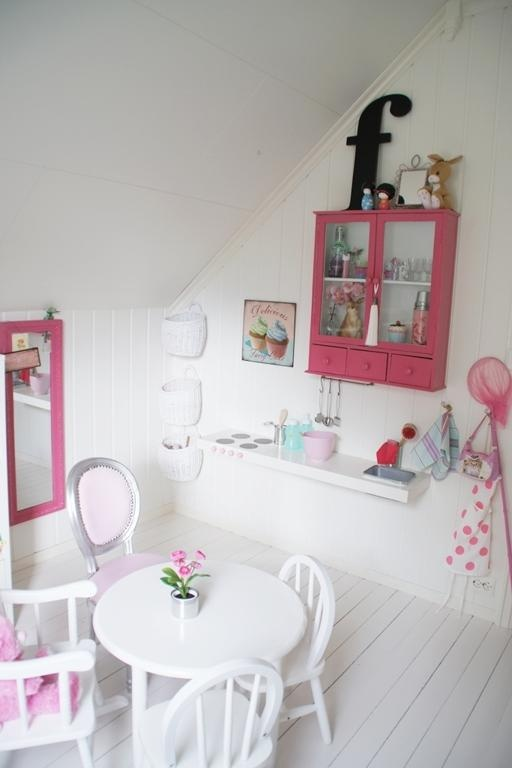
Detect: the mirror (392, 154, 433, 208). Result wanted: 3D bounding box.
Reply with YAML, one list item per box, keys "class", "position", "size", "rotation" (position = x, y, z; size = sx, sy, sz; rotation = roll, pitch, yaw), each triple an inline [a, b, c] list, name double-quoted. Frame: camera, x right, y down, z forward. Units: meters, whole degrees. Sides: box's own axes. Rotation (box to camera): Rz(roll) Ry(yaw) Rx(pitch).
- class: "mirror"
  position: [0.750, -0.972, 2.726]
  size: [0.177, 0.255, 0.012]
  rotation: [-1, 44, 3]

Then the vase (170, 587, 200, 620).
- class: "vase"
  position: [-0.212, 0.675, 1.728]
  size: [0.073, 0.056, 0.075]
  rotation: [6, 12, 19]

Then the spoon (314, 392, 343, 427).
- class: "spoon"
  position: [0.424, 0.145, 3.290]
  size: [0.045, 0.265, 0.159]
  rotation: [-6, 14, -42]

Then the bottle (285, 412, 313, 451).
- class: "bottle"
  position: [0.240, 0.300, 3.390]
  size: [0.131, 0.215, 0.218]
  rotation: [-2, 8, -38]

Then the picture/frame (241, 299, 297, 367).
- class: "picture/frame"
  position: [0.093, -0.326, 3.497]
  size: [0.365, 0.378, 0.015]
  rotation: [14, 20, 43]

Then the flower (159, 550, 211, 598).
- class: "flower"
  position: [-0.231, 0.611, 1.779]
  size: [0.083, 0.110, 0.110]
  rotation: [-1, -7, 44]

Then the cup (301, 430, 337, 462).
- class: "cup"
  position: [0.363, 0.353, 3.222]
  size: [0.190, 0.148, 0.284]
  rotation: [3, 7, 10]

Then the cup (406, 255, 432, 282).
- class: "cup"
  position: [0.757, -0.534, 2.642]
  size: [0.099, 0.117, 0.113]
  rotation: [2, 13, 4]

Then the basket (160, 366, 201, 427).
- class: "basket"
  position: [-0.518, 0.090, 3.969]
  size: [0.283, 0.421, 0.172]
  rotation: [1, 7, -8]

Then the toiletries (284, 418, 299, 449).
- class: "toiletries"
  position: [0.209, 0.306, 3.408]
  size: [0.103, 0.176, 0.059]
  rotation: [4, 7, 23]

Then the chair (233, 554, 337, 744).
- class: "chair"
  position: [0.053, 0.888, 1.881]
  size: [0.391, 0.559, 0.380]
  rotation: [-2, 9, -1]

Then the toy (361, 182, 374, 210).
- class: "toy"
  position: [0.555, -0.923, 2.839]
  size: [0.065, 0.138, 0.170]
  rotation: [3, 7, 9]

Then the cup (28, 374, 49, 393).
- class: "cup"
  position: [-1.181, 0.002, 3.137]
  size: [0.085, 0.102, 0.093]
  rotation: [4, 16, -1]

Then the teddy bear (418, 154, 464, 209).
- class: "teddy bear"
  position: [0.856, -0.943, 2.644]
  size: [0.174, 0.280, 0.216]
  rotation: [4, 7, 19]

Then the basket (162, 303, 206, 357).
- class: "basket"
  position: [-0.475, -0.373, 3.842]
  size: [0.301, 0.407, 0.209]
  rotation: [8, 10, 35]

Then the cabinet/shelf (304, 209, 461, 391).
- class: "cabinet/shelf"
  position: [0.643, -0.424, 2.784]
  size: [0.786, 0.989, 0.257]
  rotation: [10, 14, 36]

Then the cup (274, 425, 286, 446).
- class: "cup"
  position: [0.143, 0.314, 3.468]
  size: [0.094, 0.123, 0.051]
  rotation: [5, 7, 26]

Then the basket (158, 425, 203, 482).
- class: "basket"
  position: [-0.530, 0.494, 3.990]
  size: [0.298, 0.412, 0.250]
  rotation: [2, -4, 16]
